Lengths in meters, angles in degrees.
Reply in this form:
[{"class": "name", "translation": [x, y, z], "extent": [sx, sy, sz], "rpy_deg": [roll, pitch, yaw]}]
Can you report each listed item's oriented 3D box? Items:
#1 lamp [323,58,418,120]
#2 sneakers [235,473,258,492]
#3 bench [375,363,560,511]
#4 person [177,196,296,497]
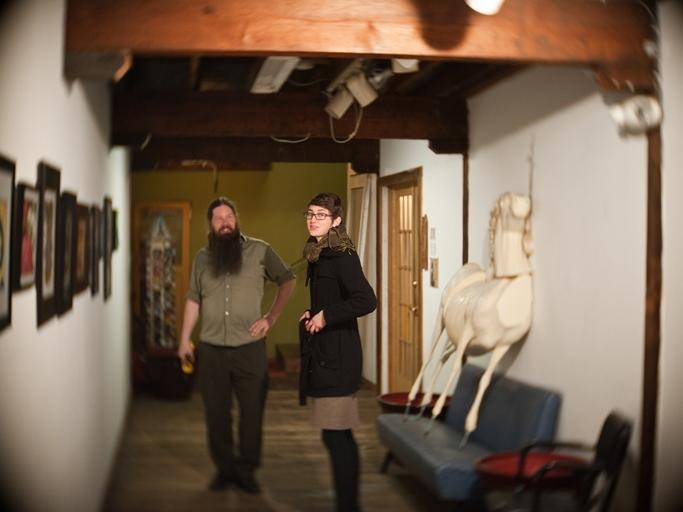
[{"class": "lamp", "translation": [0.167, -1.060, 3.653], "extent": [0.473, 0.226, 0.453], "rpy_deg": [2, 3, -20]}, {"class": "sneakers", "translation": [-0.587, 1.438, 3.588], "extent": [0.126, 0.080, 0.040], "rpy_deg": [8, -19, 29]}, {"class": "bench", "translation": [0.623, 1.047, 3.215], "extent": [0.625, 0.793, 1.174], "rpy_deg": [7, -6, -12]}, {"class": "person", "translation": [-0.624, 0.611, 3.438], "extent": [0.640, 1.922, 0.628], "rpy_deg": [2, 1, 2]}]
